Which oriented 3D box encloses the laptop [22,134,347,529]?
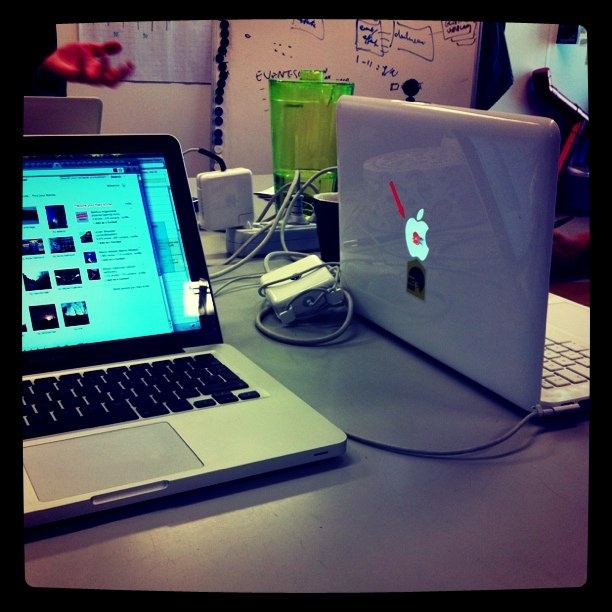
[{"bbox_3d":[-0.126,0.005,0.518,0.282,0.236,0.318,-7,21,-27],"label":"laptop"}]

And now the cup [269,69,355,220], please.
[{"bbox_3d":[-0.011,-0.326,1.168,0.210,0.314,0.187,1,25,-4],"label":"cup"}]
